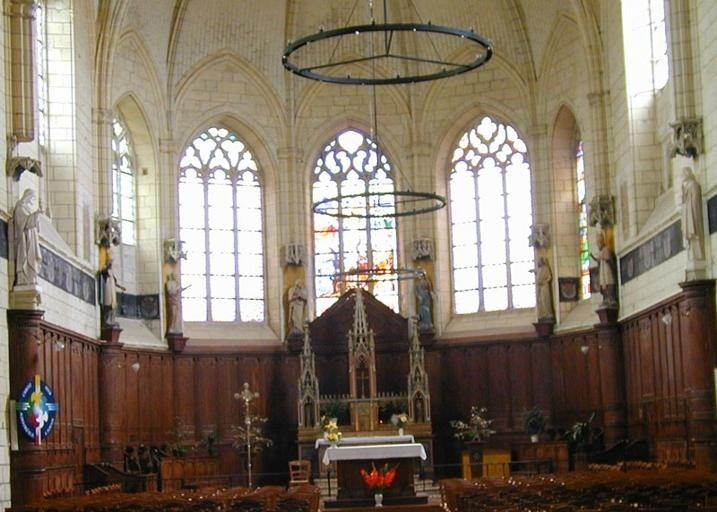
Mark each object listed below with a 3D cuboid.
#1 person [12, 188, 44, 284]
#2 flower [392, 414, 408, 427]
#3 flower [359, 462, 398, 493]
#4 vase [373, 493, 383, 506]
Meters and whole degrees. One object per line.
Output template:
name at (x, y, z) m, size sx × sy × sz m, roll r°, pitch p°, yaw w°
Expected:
person at (-9.698, -0.571, 39.912) m, size 0.776 × 2.970 × 0.701 m, roll 1°, pitch -12°, yaw -15°
flower at (1.442, 5.707, 47.304) m, size 0.461 × 0.375 × 0.471 m, roll -3°, pitch -4°, yaw 23°
flower at (0.638, 6.781, 41.585) m, size 1.105 × 0.898 × 0.616 m, roll -2°, pitch -12°, yaw -2°
vase at (0.613, 7.347, 41.082) m, size 0.264 × 0.481 × 0.287 m, roll -1°, pitch -6°, yaw -4°
